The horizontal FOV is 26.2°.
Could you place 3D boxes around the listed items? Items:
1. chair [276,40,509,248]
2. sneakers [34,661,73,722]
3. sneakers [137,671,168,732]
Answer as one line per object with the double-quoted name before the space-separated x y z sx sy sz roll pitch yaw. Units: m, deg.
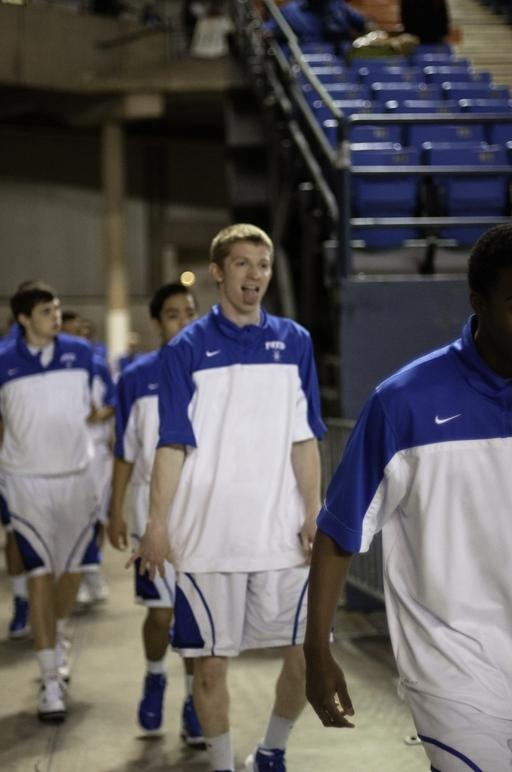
"chair" 1.180 -1.810 8.938 1.440 0.701 2.899 0 27 -3
"sneakers" -0.817 1.187 4.427 0.107 0.233 0.190 0 6 -12
"sneakers" -0.408 1.220 4.345 0.130 0.125 0.346 8 23 -7
